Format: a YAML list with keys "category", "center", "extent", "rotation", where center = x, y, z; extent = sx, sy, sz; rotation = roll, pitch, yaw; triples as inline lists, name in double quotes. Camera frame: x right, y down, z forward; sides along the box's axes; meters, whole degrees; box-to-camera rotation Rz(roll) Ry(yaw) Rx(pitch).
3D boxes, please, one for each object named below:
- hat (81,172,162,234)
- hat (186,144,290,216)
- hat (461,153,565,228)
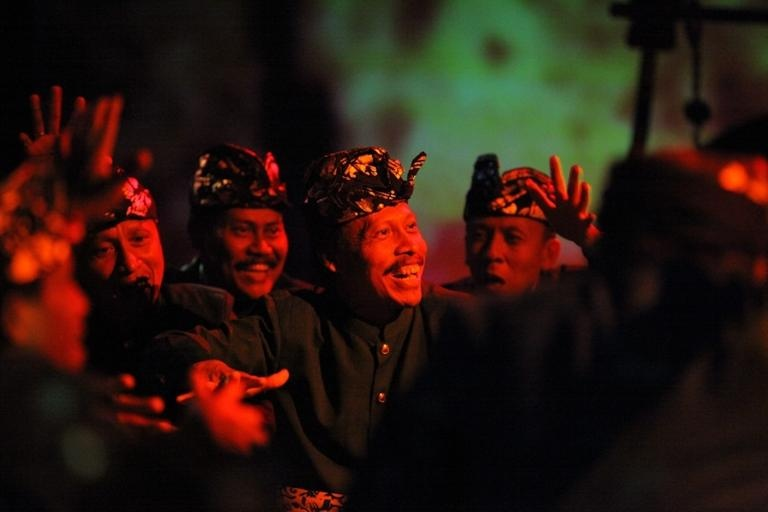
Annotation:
- category: "hat"
  center: [-1.003, -0.198, 3.628]
  extent: [0.210, 0.173, 0.242]
  rotation: [-2, 8, 1]
- category: "hat"
  center: [-0.572, -0.300, 3.765]
  extent: [0.371, 0.264, 0.108]
  rotation: [0, 16, -9]
- category: "hat"
  center: [0.513, -0.259, 3.801]
  extent: [0.343, 0.224, 0.239]
  rotation: [4, -13, 6]
